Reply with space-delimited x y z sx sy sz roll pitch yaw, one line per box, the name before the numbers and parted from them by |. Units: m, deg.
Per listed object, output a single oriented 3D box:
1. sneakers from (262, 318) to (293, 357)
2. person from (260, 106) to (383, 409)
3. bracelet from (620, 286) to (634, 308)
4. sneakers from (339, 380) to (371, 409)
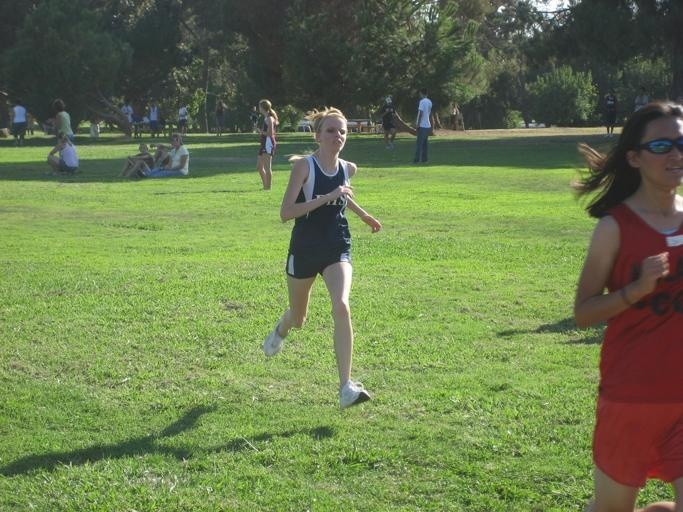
sneakers | -0.716 0.891 9.785 0.166 0.204 0.451 15 -14 -5
person | -0.259 0.014 9.299 1.076 2.915 1.425 -1 9 -6
bracelet | 2.082 0.297 6.875 0.088 0.132 0.031 3 9 19
sneakers | 0.089 1.314 8.911 0.348 0.163 0.165 -21 -8 38
